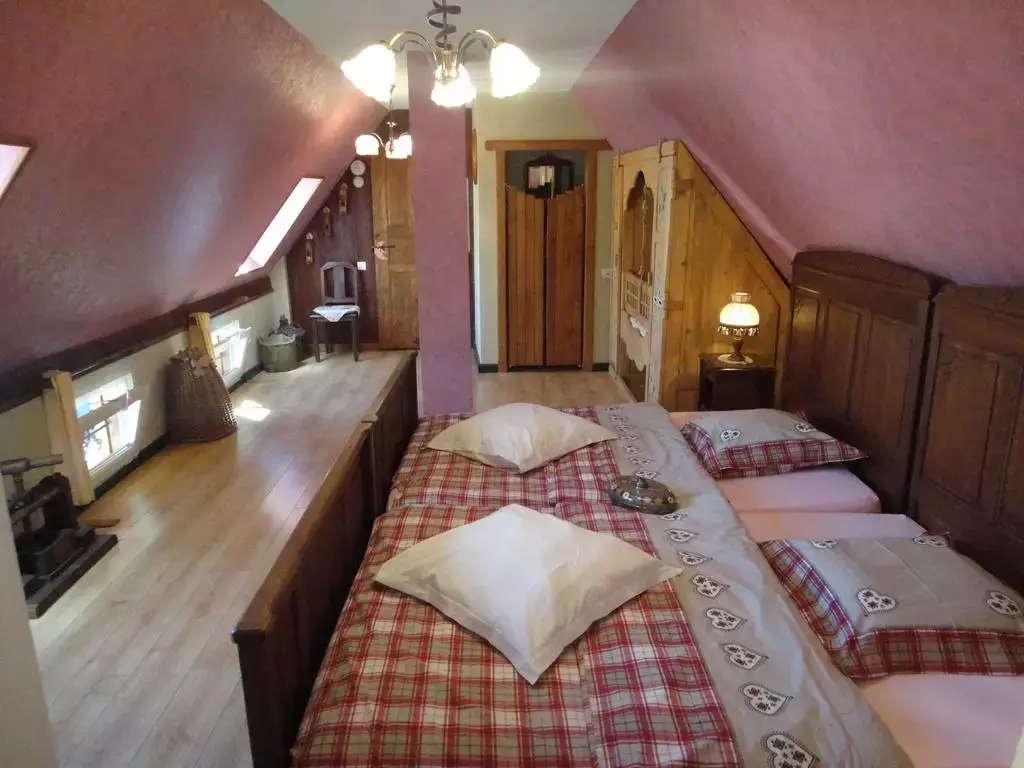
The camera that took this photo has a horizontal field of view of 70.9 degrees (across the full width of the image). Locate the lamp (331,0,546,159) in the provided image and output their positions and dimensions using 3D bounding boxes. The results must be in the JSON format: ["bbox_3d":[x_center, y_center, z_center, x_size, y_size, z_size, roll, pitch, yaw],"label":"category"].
[{"bbox_3d":[-0.407,-1.752,4.164,1.040,1.159,0.999,-3,34,-8],"label":"lamp"}]

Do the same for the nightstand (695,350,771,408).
[{"bbox_3d":[1.386,0.008,4.417,0.325,0.341,0.336,-1,22,2],"label":"nightstand"}]
